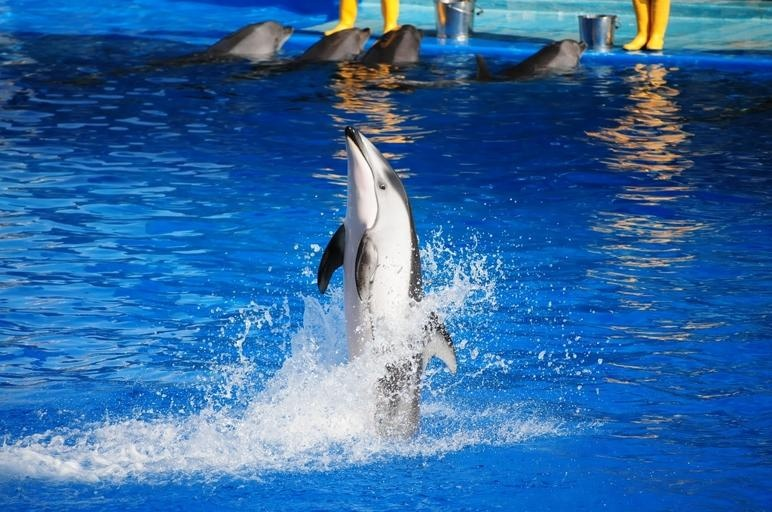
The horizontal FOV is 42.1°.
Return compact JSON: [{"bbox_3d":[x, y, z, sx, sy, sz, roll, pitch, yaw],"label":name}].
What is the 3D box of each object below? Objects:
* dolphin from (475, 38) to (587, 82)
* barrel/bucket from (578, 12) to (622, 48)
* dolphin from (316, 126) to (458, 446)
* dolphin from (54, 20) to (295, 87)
[{"bbox_3d":[1.992,-2.542,13.289,1.758,0.523,0.587,-22,18,-25],"label":"dolphin"},{"bbox_3d":[3.083,-3.210,14.423,0.949,0.384,0.675,-2,10,-7],"label":"barrel/bucket"},{"bbox_3d":[-0.167,0.176,6.830,1.222,1.730,1.101,-15,8,-26],"label":"dolphin"},{"bbox_3d":[-3.004,-2.878,14.304,4.591,0.854,1.041,2,-28,2],"label":"dolphin"}]
